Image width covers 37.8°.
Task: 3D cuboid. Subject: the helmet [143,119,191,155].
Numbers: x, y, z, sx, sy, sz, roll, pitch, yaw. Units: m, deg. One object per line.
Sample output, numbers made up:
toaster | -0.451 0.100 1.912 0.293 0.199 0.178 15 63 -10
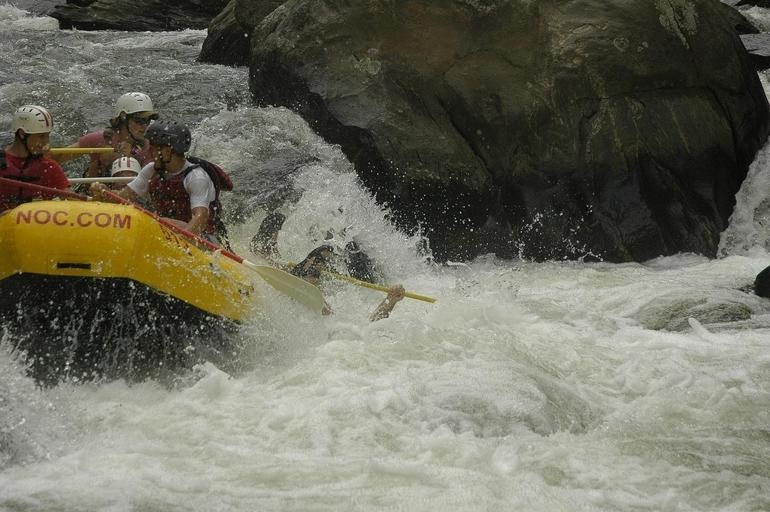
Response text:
helmet | -2.574 -1.409 13.241 0.477 0.342 0.361 -4 22 -25

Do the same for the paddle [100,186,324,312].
paddle | -2.088 -0.017 13.253 2.350 0.262 0.169 34 33 1

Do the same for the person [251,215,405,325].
person | -0.668 0.232 13.856 1.432 0.473 0.528 31 -18 -4

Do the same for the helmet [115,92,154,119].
helmet | -3.314 -1.977 14.791 0.435 0.267 0.336 13 6 16

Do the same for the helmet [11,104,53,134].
helmet | -4.207 -1.629 13.399 0.416 0.346 0.333 -2 12 -10
